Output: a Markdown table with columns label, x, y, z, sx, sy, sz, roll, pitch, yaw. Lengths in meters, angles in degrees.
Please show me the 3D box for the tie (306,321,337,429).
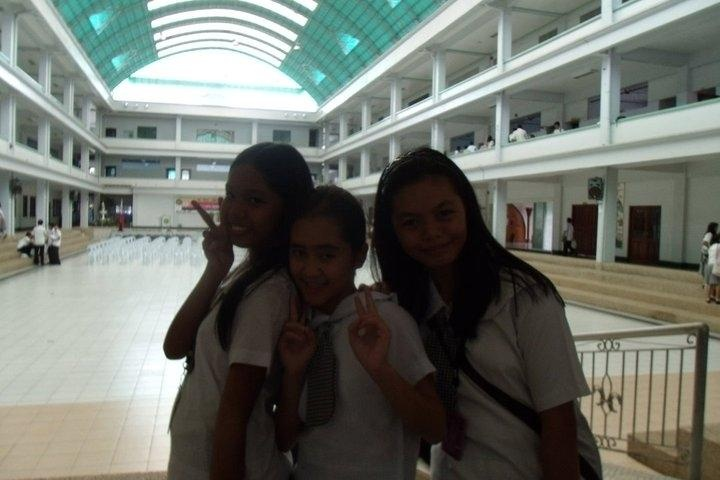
| label | x | y | z | sx | sy | sz | roll | pitch | yaw |
| --- | --- | --- | --- | --- | --- | --- | --- | --- | --- |
| tie | -0.285 | 0.987 | 3.709 | 0.212 | 0.711 | 0.213 | -1 | 9 | -3 |
